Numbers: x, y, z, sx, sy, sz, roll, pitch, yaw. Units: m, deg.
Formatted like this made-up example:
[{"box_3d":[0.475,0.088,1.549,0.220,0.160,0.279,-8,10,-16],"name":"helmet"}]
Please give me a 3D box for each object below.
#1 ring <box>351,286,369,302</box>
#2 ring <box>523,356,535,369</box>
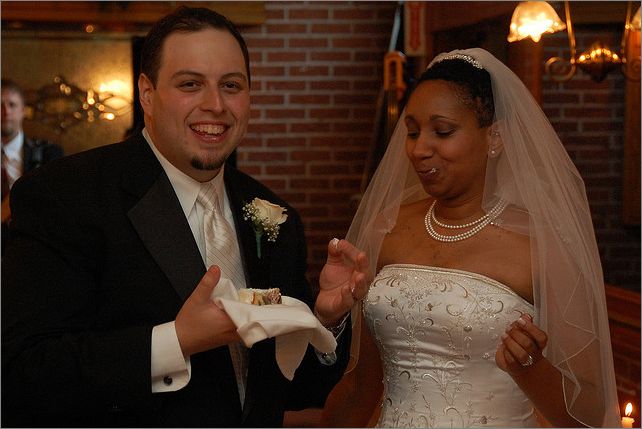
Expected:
[{"box_3d":[0.169,0.365,2.760,0.074,0.106,0.039,-1,36,-6],"name":"ring"},{"box_3d":[0.916,0.648,2.599,0.051,0.020,0.048,-40,17,15],"name":"ring"}]
